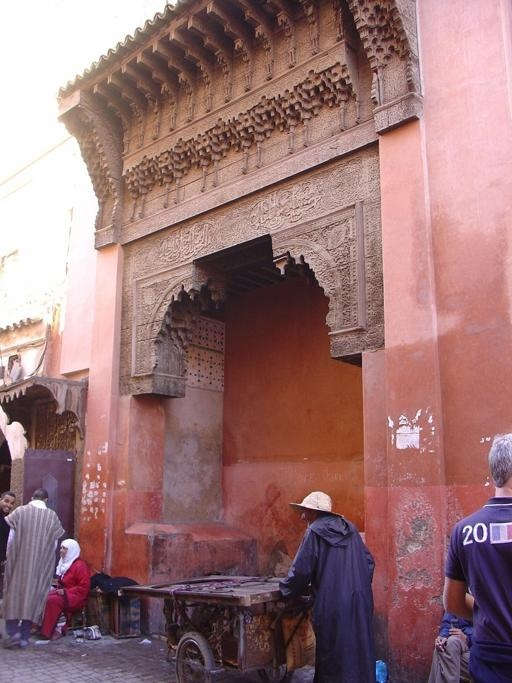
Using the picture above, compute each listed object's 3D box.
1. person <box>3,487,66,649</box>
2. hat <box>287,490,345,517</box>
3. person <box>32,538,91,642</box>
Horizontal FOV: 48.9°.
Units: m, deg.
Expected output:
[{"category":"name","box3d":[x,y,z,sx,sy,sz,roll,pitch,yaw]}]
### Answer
[{"category":"person","box3d":[-2.195,2.182,5.501,0.541,1.417,0.400,6,-15,-26]},{"category":"hat","box3d":[0.387,1.089,3.859,0.325,0.147,0.345,15,-21,-10]},{"category":"person","box3d":[-1.999,2.551,5.846,0.448,0.961,0.461,0,-4,40]}]
